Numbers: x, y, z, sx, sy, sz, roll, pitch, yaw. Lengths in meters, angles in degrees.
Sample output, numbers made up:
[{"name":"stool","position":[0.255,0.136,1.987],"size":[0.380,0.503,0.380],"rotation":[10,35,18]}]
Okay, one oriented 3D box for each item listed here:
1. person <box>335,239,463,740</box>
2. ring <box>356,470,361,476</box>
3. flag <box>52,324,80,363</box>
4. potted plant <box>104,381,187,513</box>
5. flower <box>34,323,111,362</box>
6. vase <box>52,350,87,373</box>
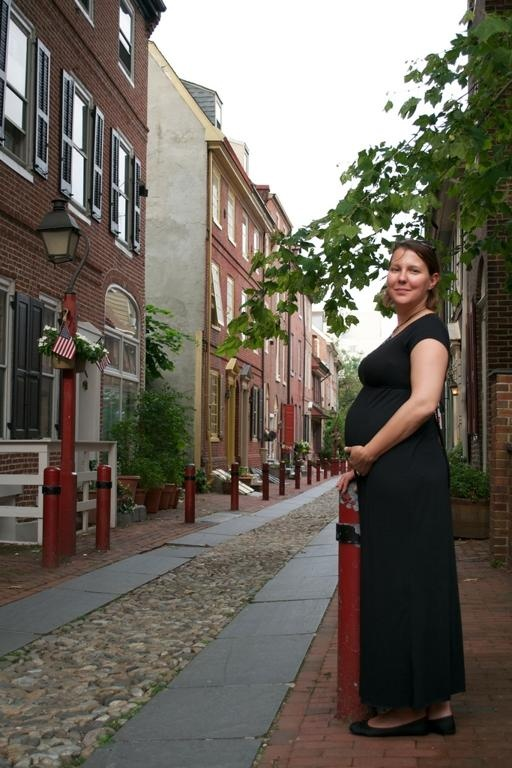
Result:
[{"name":"person","position":[0.497,0.344,2.460],"size":[0.442,1.775,0.399],"rotation":[-5,-8,22]},{"name":"ring","position":[0.364,0.321,2.476],"size":[0.014,0.016,0.062],"rotation":[-7,-18,17]},{"name":"flag","position":[-2.173,-0.467,7.756],"size":[0.225,0.434,0.399],"rotation":[0,-8,-17]},{"name":"potted plant","position":[-2.049,1.216,13.713],"size":[1.380,2.322,3.486],"rotation":[-1,-8,-6]},{"name":"flower","position":[-2.205,-0.442,8.443],"size":[0.527,0.313,0.668],"rotation":[14,-6,19]},{"name":"vase","position":[-2.176,-0.262,7.950],"size":[0.214,0.134,0.324],"rotation":[0,-9,4]}]
